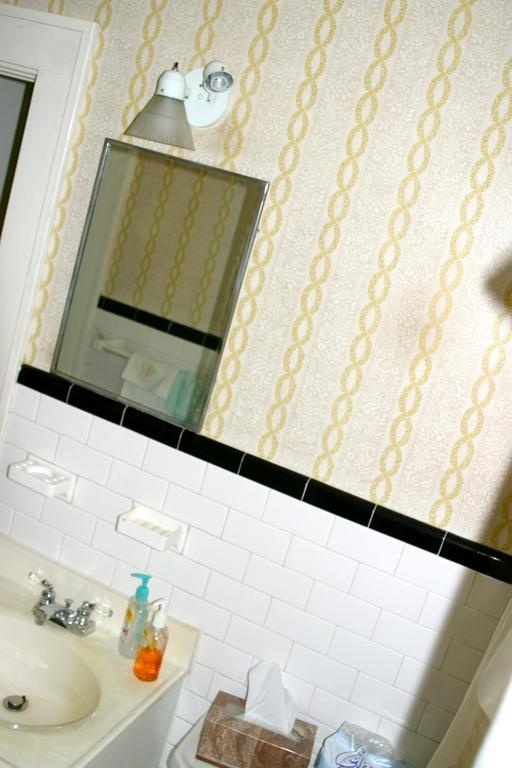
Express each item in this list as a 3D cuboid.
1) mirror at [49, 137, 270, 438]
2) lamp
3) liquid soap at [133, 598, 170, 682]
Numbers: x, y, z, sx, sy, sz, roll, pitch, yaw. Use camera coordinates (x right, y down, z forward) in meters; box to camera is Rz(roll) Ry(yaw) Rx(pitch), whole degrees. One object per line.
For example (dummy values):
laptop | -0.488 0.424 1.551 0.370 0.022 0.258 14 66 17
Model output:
mirror | -0.213 -0.246 1.675 0.562 0.740 0.032 22 16 15
lamp | -0.176 -0.617 1.574 0.155 0.257 0.177 20 -66 23
liquid soap | -0.240 0.607 1.638 0.065 0.175 0.179 15 -28 -1
